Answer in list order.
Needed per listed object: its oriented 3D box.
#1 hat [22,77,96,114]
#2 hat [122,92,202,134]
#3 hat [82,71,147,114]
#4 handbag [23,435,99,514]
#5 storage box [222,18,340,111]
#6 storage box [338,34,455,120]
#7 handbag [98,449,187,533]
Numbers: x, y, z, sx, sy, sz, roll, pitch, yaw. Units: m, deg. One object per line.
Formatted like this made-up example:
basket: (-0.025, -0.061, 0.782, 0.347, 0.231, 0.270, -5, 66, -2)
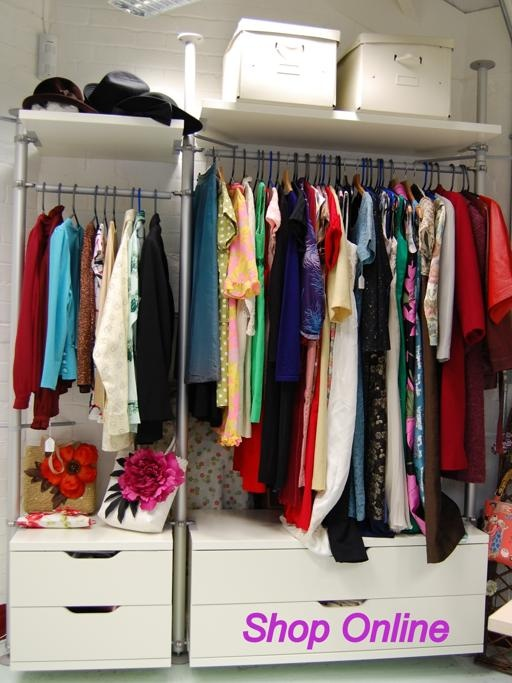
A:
hat: (-0.598, -0.743, 1.783, 0.136, 0.068, 0.168, 9, 9, 24)
hat: (-0.284, -0.684, 1.760, 0.143, 0.052, 0.133, 18, -11, -2)
hat: (-0.438, -0.766, 1.819, 0.152, 0.056, 0.140, 8, 40, 24)
handbag: (-0.674, 0.459, 2.008, 0.265, 0.287, 0.065, 0, -3, -14)
storage box: (0.088, -0.885, 1.959, 0.395, 0.225, 0.425, 8, 12, 15)
storage box: (0.453, -0.827, 1.952, 0.247, 0.173, 0.264, 1, 4, -6)
handbag: (-0.364, 0.464, 1.883, 0.225, 0.319, 0.150, 2, -28, 20)
